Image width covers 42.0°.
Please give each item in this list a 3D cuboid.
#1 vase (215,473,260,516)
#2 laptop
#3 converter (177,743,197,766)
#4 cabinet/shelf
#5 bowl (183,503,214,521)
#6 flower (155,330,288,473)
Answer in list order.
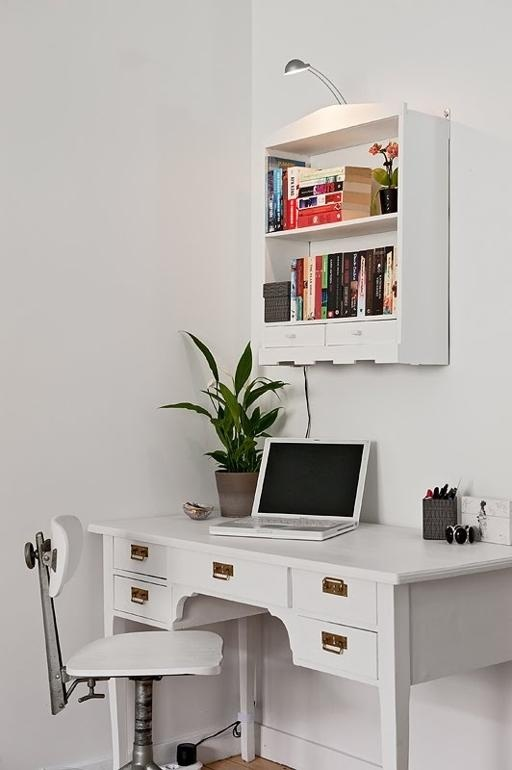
[{"bbox_3d":[-0.055,0.330,2.045,0.126,0.114,0.118,4,-6,-12],"label":"vase"},{"bbox_3d":[0.108,0.266,1.839,0.301,0.222,0.286,-2,-4,34],"label":"laptop"},{"bbox_3d":[-0.221,1.176,2.125,0.058,0.059,0.059,-5,-8,39],"label":"converter"},{"bbox_3d":[0.269,-0.421,1.905,0.255,0.728,0.583,-2,2,-40],"label":"cabinet/shelf"},{"bbox_3d":[-0.178,0.372,2.009,0.056,0.032,0.056,7,-10,1],"label":"bowl"},{"bbox_3d":[-0.069,0.091,2.276,0.425,0.524,0.433,3,-6,-25],"label":"flower"}]
